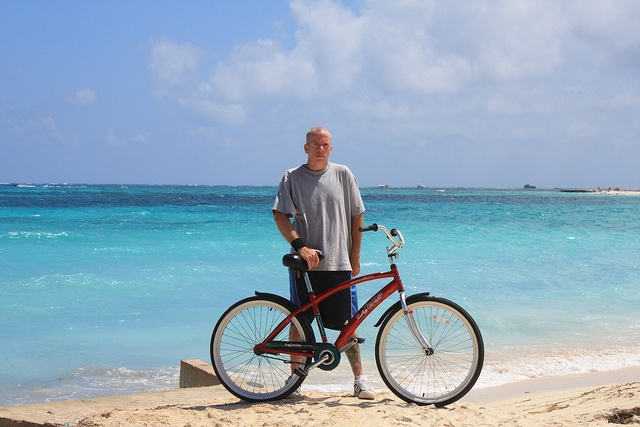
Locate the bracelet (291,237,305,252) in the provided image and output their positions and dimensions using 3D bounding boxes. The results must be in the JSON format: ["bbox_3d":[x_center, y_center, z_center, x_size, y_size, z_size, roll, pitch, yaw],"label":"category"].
[{"bbox_3d":[-0.332,0.477,9.399,0.227,0.158,0.218,-18,4,21],"label":"bracelet"}]
